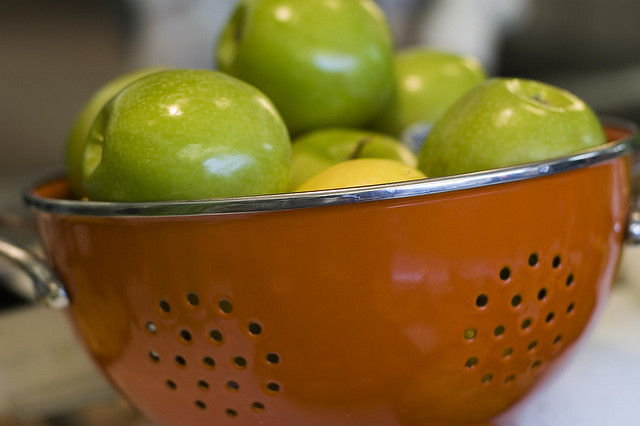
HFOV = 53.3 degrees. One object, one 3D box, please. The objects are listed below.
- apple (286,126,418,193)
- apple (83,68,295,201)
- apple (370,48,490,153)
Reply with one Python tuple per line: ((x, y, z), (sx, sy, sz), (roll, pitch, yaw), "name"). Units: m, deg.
((0.032, -0.080, 0.680), (0.101, 0.086, 0.105), (-5, 19, -25), "apple")
((-0.135, -0.054, 0.583), (0.121, 0.138, 0.142), (6, 76, -38), "apple")
((0.145, -0.116, 0.824), (0.145, 0.129, 0.130), (-10, 52, 19), "apple")
